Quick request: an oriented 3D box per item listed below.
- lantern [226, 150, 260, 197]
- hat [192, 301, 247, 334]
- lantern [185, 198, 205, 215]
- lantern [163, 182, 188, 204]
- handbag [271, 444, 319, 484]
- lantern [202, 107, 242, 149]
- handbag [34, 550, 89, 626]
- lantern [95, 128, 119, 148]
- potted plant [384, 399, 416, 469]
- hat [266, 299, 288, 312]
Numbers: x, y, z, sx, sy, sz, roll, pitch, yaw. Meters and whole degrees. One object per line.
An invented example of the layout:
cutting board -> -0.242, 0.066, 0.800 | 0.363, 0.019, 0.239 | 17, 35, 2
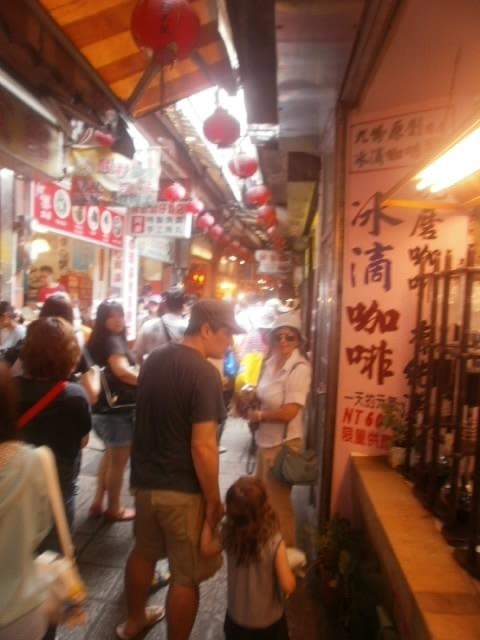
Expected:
lantern -> 0.029, -1.759, 5.775 | 0.484, 0.620, 0.458 | -15, 23, -42
hat -> -0.124, -0.030, 2.549 | 0.224, 0.138, 0.171 | 4, 3, -13
lantern -> -0.935, -2.288, 9.730 | 0.308, 0.350, 0.310 | 29, 26, 31
lantern -> -1.050, -2.108, 7.875 | 0.279, 0.343, 0.657 | 6, 7, -1
handbag -> 0.385, 1.008, 3.340 | 0.232, 0.238, 0.292 | -7, -17, 35
lantern -> -0.166, -1.655, 4.274 | 0.281, 0.424, 0.324 | -4, 3, 18
handbag -> -0.572, 0.890, 1.528 | 0.150, 0.239, 0.050 | 21, 26, 27
lantern -> -1.192, -1.590, 4.234 | 0.177, 0.182, 0.419 | 4, 8, -19
potted plant -> 1.004, 0.762, 3.107 | 0.180, 0.422, 0.402 | 8, 7, 19
hat -> 0.768, -0.289, 10.131 | 0.353, 0.255, 0.534 | 12, 6, -14
